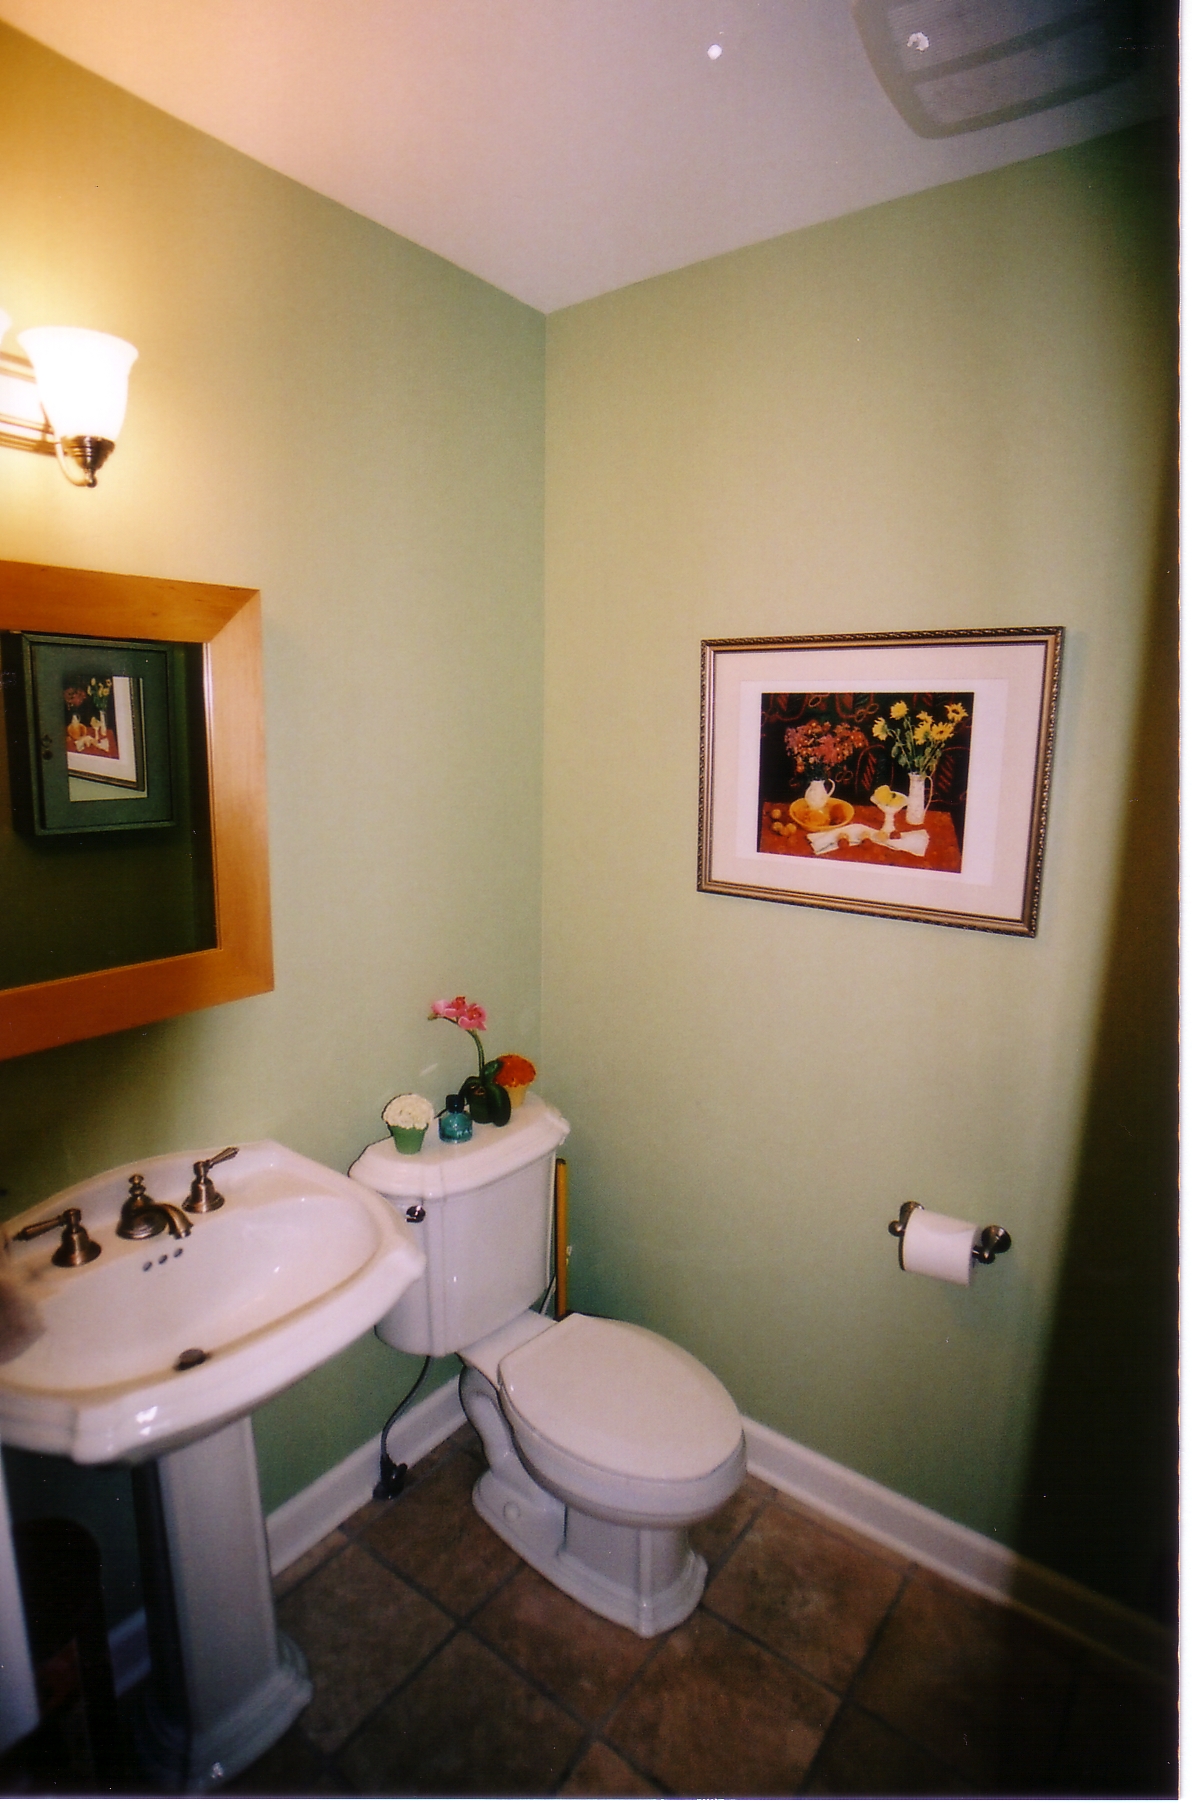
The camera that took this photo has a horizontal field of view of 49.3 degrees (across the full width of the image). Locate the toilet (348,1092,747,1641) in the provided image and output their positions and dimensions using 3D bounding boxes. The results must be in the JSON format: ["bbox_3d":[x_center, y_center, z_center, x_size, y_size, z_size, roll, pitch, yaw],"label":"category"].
[{"bbox_3d":[0.056,0.701,2.507,0.822,0.958,0.528,8,17,40],"label":"toilet"}]

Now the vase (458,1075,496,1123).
[{"bbox_3d":[-0.216,0.359,2.377,0.056,0.092,0.050,5,19,31],"label":"vase"}]

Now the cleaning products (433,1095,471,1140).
[{"bbox_3d":[-0.249,0.383,2.342,0.060,0.080,0.065,0,0,17],"label":"cleaning products"}]

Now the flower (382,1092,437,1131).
[{"bbox_3d":[-0.322,0.362,2.251,0.069,0.062,0.090,2,10,0],"label":"flower"}]

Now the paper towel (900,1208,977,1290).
[{"bbox_3d":[0.547,0.547,2.083,0.064,0.090,0.110,25,-11,-40],"label":"paper towel"}]

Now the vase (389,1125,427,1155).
[{"bbox_3d":[-0.317,0.404,2.231,0.048,0.039,0.049,6,7,36],"label":"vase"}]

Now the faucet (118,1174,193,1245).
[{"bbox_3d":[-0.616,0.426,1.812,0.128,0.087,0.060,19,23,38],"label":"faucet"}]

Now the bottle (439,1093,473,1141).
[{"bbox_3d":[-0.253,0.386,2.318,0.053,0.082,0.070,0,-1,-10],"label":"bottle"}]

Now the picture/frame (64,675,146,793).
[{"bbox_3d":[-0.665,-0.236,1.759,0.014,0.159,0.133,5,11,24],"label":"picture/frame"}]
